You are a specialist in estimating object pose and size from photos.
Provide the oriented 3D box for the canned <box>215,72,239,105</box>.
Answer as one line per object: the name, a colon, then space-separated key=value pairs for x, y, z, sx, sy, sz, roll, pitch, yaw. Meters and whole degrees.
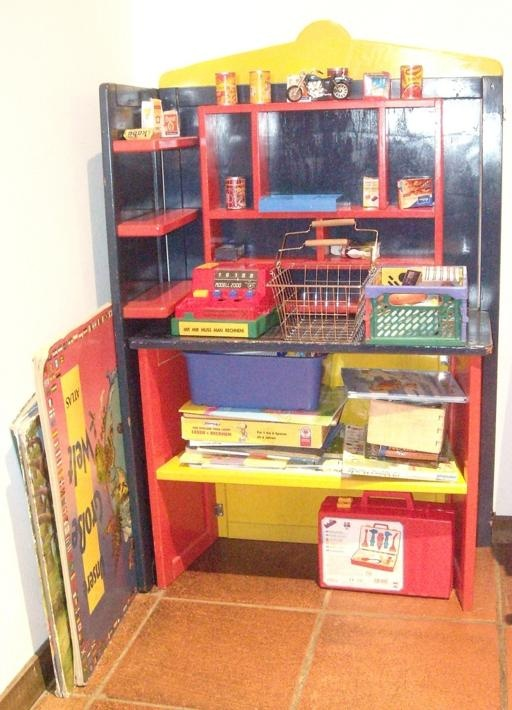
canned: x=-0.100 y=-0.885 z=1.939 sx=0.094 sy=0.118 sz=0.102 roll=4 pitch=19 yaw=12

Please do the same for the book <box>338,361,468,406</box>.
book: x=0.479 y=0.103 z=1.966 sx=0.383 sy=0.075 sz=0.453 roll=-2 pitch=7 yaw=9

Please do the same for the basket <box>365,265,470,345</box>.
basket: x=0.475 y=-0.089 z=1.748 sx=0.332 sy=0.188 sz=0.357 roll=5 pitch=-9 yaw=-6

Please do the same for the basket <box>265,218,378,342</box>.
basket: x=0.242 y=-0.253 z=2.044 sx=0.315 sy=0.444 sz=0.425 roll=3 pitch=-4 yaw=5
